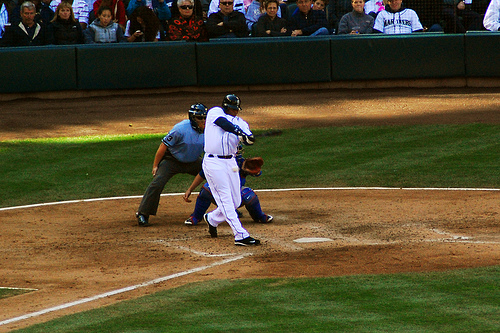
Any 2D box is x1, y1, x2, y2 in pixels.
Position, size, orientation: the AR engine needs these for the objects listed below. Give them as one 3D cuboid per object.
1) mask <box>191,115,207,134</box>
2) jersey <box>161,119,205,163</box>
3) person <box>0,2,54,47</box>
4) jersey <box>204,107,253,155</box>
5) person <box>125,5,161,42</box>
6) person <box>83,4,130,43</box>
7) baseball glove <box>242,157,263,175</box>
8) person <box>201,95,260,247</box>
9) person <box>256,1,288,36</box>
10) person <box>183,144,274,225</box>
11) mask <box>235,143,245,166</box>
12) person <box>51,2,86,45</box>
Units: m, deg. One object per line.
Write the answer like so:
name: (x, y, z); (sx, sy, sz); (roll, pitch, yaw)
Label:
mask: (-0.903, -0.798, 17.577); (0.295, 0.296, 0.355); (-5, 7, -45)
jersey: (-1.231, -0.454, 17.960); (1.059, 0.740, 0.489); (8, 21, -38)
person: (-6.126, -3.820, 25.670); (1.286, 0.920, 0.648); (-4, 26, -20)
jersey: (-0.514, -0.586, 16.465); (0.989, 0.807, 0.742); (2, 4, 23)
person: (-2.992, -3.970, 26.496); (1.033, 1.092, 0.651); (5, 37, -2)
person: (-4.003, -3.952, 26.339); (0.909, 1.092, 0.726); (-15, 35, -24)
baseball glove: (0.070, -0.005, 17.010); (0.394, 0.305, 0.240); (0, 7, 10)
person: (-0.361, 0.081, 16.603); (0.900, 2.646, 0.830); (-2, 7, -2)
person: (0.678, -4.129, 26.534); (0.892, 0.887, 0.868); (-2, 7, -3)
person: (-0.429, 0.387, 17.630); (1.593, 1.354, 0.875); (-4, 19, -24)
mask: (-0.170, -0.218, 17.014); (0.166, 0.449, 0.166); (13, 44, 2)
person: (-5.022, -3.858, 25.773); (0.850, 1.075, 1.217); (-1, 6, 2)
